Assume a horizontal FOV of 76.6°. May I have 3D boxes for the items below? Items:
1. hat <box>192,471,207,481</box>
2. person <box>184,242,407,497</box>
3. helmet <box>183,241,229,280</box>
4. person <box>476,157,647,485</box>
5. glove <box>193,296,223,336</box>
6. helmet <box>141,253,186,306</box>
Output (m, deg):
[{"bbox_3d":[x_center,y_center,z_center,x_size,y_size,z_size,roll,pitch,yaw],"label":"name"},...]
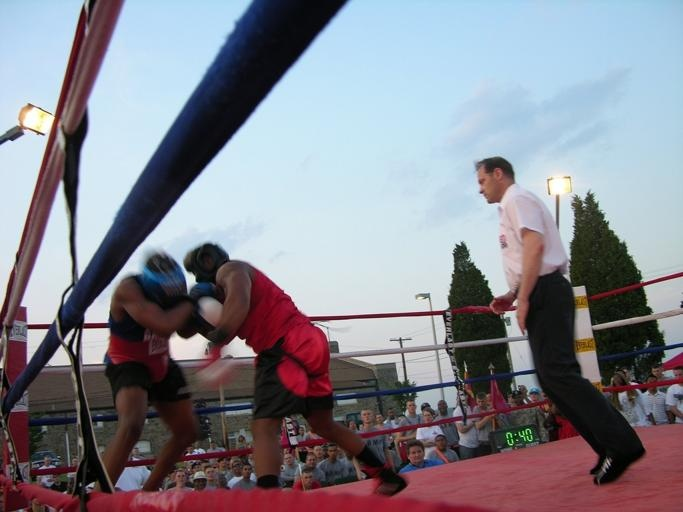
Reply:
[{"bbox_3d":[-2.117,3.259,6.446,0.159,0.061,0.177,2,-17,-9],"label":"hat"},{"bbox_3d":[-0.255,0.637,2.243,0.846,1.277,0.325,2,-21,-38],"label":"person"},{"bbox_3d":[-0.729,0.037,2.350,0.243,0.218,0.185,-4,-10,8],"label":"helmet"},{"bbox_3d":[1.127,0.222,2.394,0.390,1.868,0.465,-14,-16,11],"label":"person"},{"bbox_3d":[-0.675,0.301,2.233,0.167,0.169,0.163,25,-16,-18],"label":"glove"},{"bbox_3d":[-0.936,0.129,2.251,0.180,0.228,0.248,-27,1,-14],"label":"helmet"}]
